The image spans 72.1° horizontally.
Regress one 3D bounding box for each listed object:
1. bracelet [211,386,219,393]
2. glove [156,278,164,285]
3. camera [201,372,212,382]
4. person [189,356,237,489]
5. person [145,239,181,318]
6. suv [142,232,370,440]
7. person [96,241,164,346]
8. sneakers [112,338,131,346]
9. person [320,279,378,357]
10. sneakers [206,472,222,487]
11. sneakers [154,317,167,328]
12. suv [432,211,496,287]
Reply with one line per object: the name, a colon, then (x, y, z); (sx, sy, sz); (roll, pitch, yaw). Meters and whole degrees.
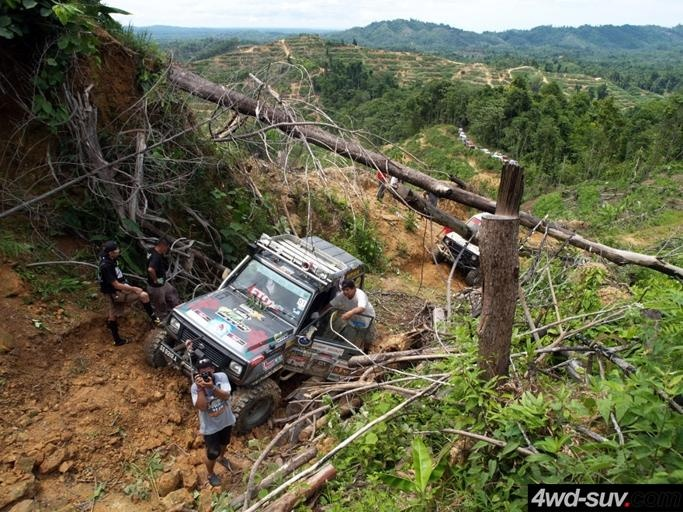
bracelet: (-1.724, 1.818, 6.381); (0.089, 0.094, 0.061); (-5, -2, -44)
glove: (-3.173, 0.442, 8.213); (0.026, 0.106, 0.109); (2, 0, 37)
camera: (-1.795, 1.619, 6.250); (0.107, 0.109, 0.108); (2, -9, -14)
person: (-1.737, 2.311, 6.503); (0.490, 1.664, 0.845); (-9, 33, -18)
person: (-3.286, 0.421, 8.533); (0.555, 1.319, 0.584); (-25, 63, -37)
suv: (-1.257, 1.068, 8.710); (2.817, 2.383, 3.964); (33, 28, 27)
person: (-3.685, 0.717, 8.135); (1.106, 2.020, 0.821); (-16, 36, -38)
sneakers: (-3.736, 1.433, 7.948); (0.281, 0.119, 0.095); (-9, 36, -40)
person: (0.157, 1.193, 8.590); (0.949, 1.491, 1.047); (-1, 6, 36)
sneakers: (-1.768, 3.121, 6.529); (0.212, 0.089, 0.121); (16, 14, 40)
sneakers: (-3.189, 1.167, 8.200); (0.141, 0.186, 0.080); (-16, 31, 46)
suv: (4.237, -0.259, 16.193); (1.761, 1.799, 3.133); (31, 15, 12)
